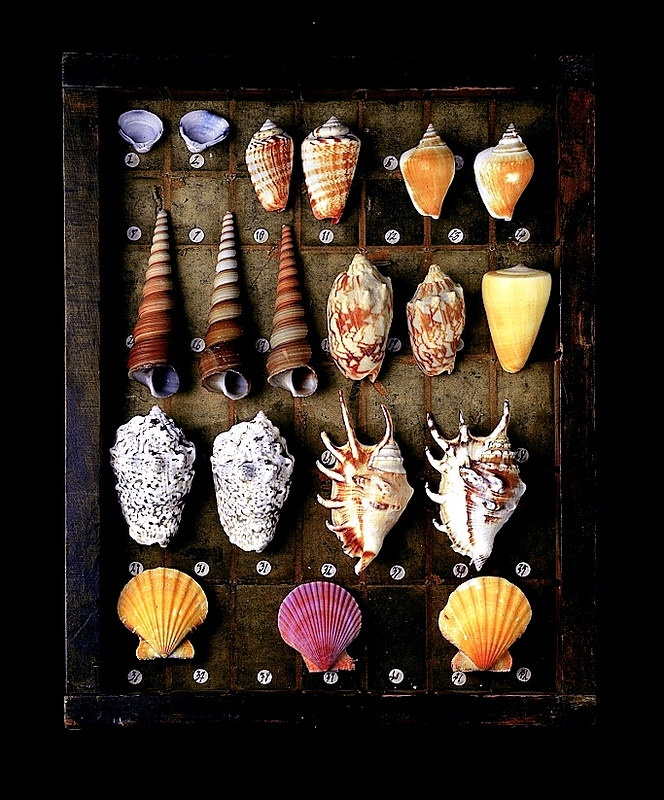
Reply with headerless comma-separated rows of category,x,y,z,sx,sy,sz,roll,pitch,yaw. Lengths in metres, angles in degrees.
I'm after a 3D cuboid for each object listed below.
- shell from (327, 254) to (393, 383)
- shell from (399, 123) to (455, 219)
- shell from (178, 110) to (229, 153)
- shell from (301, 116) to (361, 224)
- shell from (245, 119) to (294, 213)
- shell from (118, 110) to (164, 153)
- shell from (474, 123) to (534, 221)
shell,0.056,-0.183,2.549,0.130,0.157,0.217,1,60,1
shell,0.205,-0.492,2.584,0.118,0.114,0.212,-3,86,38
shell,-0.285,-0.587,2.619,0.112,0.052,0.084,16,62,8
shell,-0.009,-0.506,2.580,0.117,0.212,0.123,9,19,18
shell,-0.143,-0.516,2.579,0.104,0.206,0.100,-2,29,-4
shell,-0.420,-0.600,2.623,0.082,0.065,0.101,5,93,-6
shell,0.368,-0.494,2.577,0.122,0.204,0.109,16,18,43
